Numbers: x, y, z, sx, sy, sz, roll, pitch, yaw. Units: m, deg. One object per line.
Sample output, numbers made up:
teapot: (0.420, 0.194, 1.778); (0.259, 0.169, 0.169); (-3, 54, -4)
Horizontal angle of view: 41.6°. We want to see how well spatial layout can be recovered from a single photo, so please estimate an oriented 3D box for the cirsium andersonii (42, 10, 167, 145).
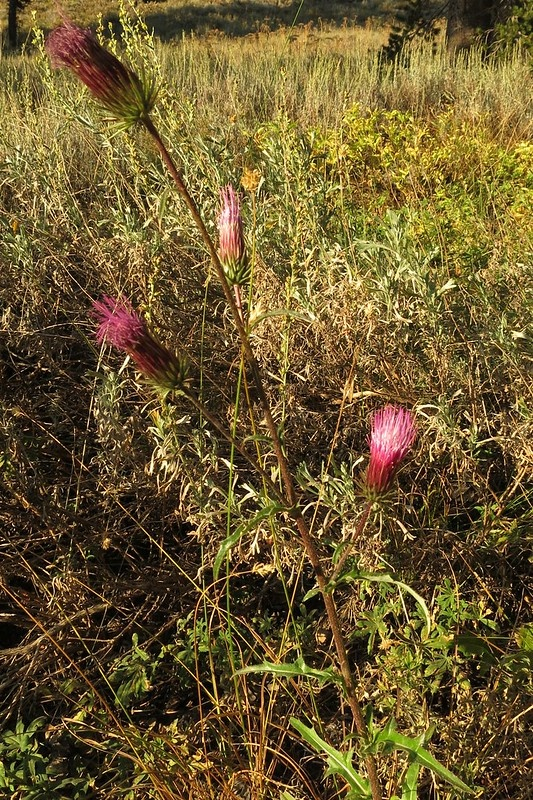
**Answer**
cirsium andersonii: (-0.250, -0.508, 1.108); (0.094, 0.103, 0.211); (9, 37, -54)
